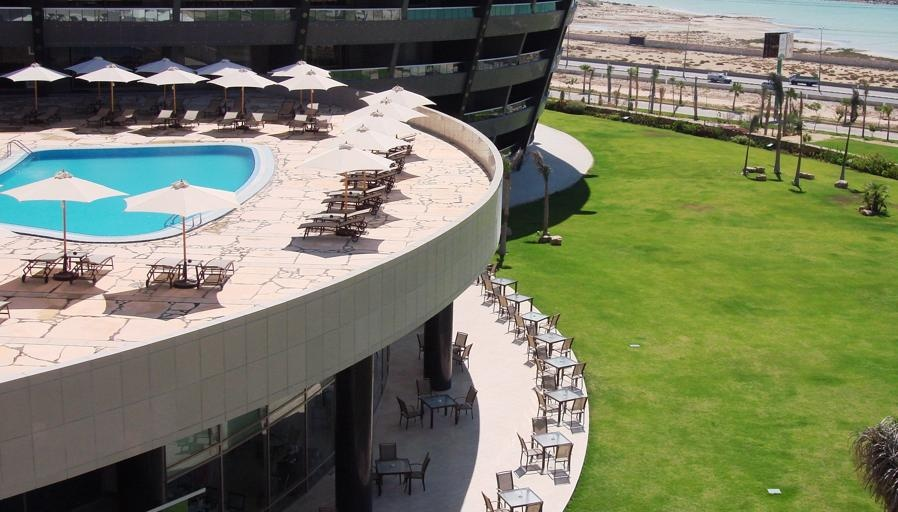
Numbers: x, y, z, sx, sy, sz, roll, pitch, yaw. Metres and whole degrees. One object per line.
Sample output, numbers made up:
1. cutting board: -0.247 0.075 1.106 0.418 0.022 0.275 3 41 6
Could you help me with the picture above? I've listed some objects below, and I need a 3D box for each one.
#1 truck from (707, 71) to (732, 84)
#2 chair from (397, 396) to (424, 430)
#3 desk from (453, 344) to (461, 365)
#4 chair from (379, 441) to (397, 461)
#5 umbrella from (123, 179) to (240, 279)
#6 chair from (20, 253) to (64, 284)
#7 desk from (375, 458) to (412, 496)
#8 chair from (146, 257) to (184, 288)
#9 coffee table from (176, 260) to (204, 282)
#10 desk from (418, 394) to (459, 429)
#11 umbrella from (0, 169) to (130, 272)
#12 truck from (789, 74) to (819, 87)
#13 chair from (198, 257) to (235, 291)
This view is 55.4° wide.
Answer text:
1. truck: 42.976 -28.054 135.929 5.230 1.598 2.687 2 15 13
2. chair: -1.609 6.523 35.405 1.199 1.268 0.978 -9 22 -24
3. desk: 0.386 4.432 39.040 0.510 0.625 1.012 7 18 0
4. chair: -2.389 7.500 33.107 0.787 0.834 0.695 0 4 -4
5. umbrella: -9.064 -1.021 29.741 4.162 2.933 4.069 15 19 37
6. chair: -13.768 0.377 28.622 0.987 0.552 1.581 0 11 -9
7. desk: -2.219 8.390 32.883 1.543 0.731 1.298 -1 25 -8
8. chair: -9.574 0.476 28.902 0.854 0.540 1.417 3 23 -2
9. coffee table: -8.739 0.495 28.954 0.910 0.649 0.785 0 6 -5
10. desk: -0.422 6.281 35.623 1.336 0.618 1.214 -5 19 -24
11. umbrella: -13.261 -1.179 30.305 4.755 3.428 4.531 -6 18 -34
12. truck: 55.472 -27.154 133.530 3.541 1.242 4.773 3 17 -5
13. chair: -7.919 0.524 29.031 0.801 0.474 1.331 3 19 -1
